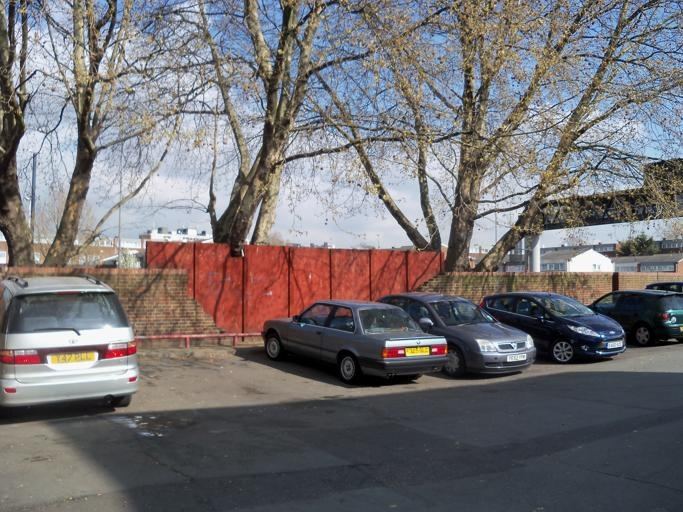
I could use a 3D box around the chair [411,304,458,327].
[{"bbox_3d":[2.192,1.324,15.256,0.783,0.454,0.502,-5,3,2],"label":"chair"}]
